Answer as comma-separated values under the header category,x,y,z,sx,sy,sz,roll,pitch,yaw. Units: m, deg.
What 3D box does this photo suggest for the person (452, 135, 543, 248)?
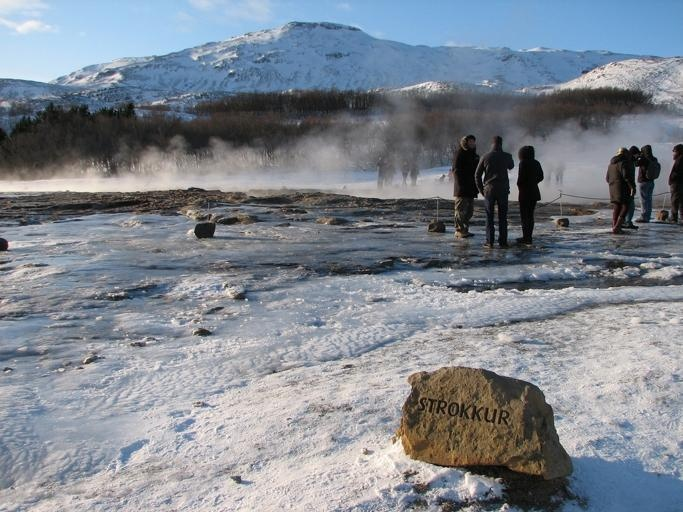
category,x,y,z,sx,sy,sz,roll,pitch,yaw
person,2.856,-1.097,9.582,1.172,1.890,0.611,-8,13,-30
